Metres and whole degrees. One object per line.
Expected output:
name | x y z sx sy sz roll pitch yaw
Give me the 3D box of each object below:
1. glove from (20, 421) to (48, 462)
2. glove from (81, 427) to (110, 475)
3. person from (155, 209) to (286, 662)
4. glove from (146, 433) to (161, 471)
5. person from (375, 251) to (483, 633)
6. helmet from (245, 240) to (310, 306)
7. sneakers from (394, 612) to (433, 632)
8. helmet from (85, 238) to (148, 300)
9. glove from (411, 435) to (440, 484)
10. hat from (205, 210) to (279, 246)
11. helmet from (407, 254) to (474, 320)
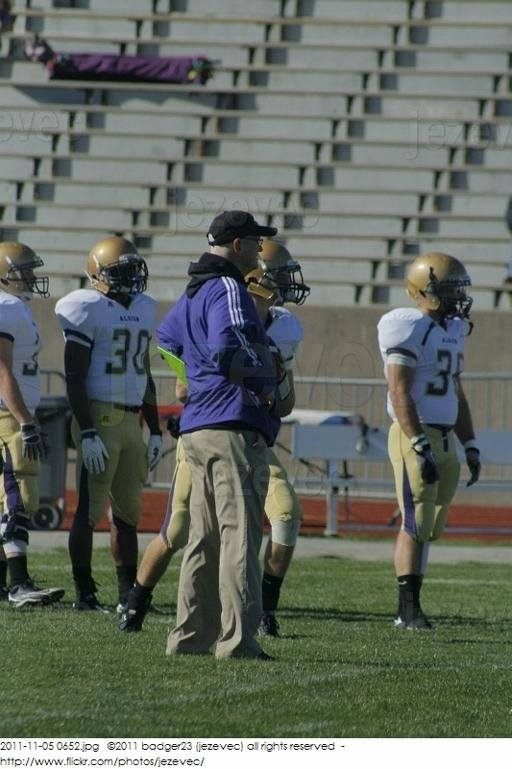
glove | -1.188 0.301 9.184 0.120 0.195 0.079 -8 -9 -46
glove | -0.834 0.338 8.891 0.120 0.225 0.064 -8 2 -18
person | -0.156 0.321 7.921 0.494 1.288 0.340 2 -1 5
glove | -0.569 0.353 9.257 0.049 0.160 0.117 2 5 19
person | 0.891 0.256 9.162 0.414 1.987 0.705 1 -1 25
helmet | 0.119 -0.578 8.834 0.343 0.326 0.270 5 6 1
sneakers | 0.796 1.205 8.850 0.187 0.090 0.080 4 0 27
helmet | -0.701 -0.631 9.300 0.345 0.303 0.261 9 12 44
glove | 0.858 0.377 8.900 0.139 0.256 0.097 2 -1 6
hat | -0.074 -0.748 8.085 0.264 0.138 0.169 -7 13 -6
helmet | 0.997 -0.523 9.232 0.340 0.329 0.292 3 5 14
